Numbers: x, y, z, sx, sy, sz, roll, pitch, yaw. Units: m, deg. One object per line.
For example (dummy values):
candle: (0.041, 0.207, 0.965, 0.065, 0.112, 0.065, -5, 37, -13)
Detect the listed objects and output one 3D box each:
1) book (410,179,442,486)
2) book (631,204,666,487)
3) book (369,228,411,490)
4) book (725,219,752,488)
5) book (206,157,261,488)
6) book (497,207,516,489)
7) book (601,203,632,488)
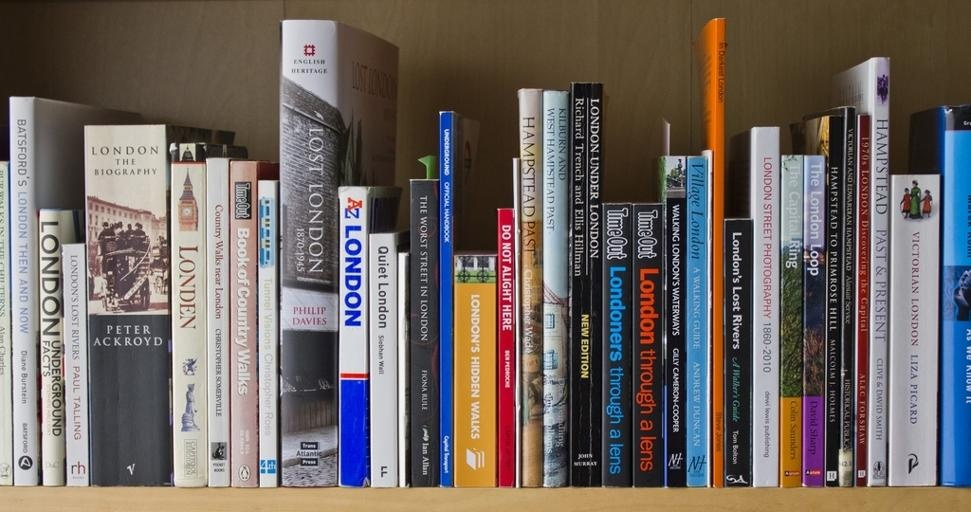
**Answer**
book: (-0.120, 0.155, 2.405, 0.068, 0.603, 0.041, -2, -2, -9)
book: (0.323, 0.178, 2.402, 0.068, 0.558, 0.041, -2, -2, -6)
book: (-0.197, 0.208, 2.402, 0.071, 0.500, 0.042, -2, -2, -11)
book: (0.504, 0.193, 2.404, 0.063, 0.526, 0.032, -2, -2, -3)
book: (-0.494, 0.134, 2.408, 0.121, 0.648, 0.055, -2, -2, -11)
book: (0.043, 0.183, 2.407, 0.036, 0.548, 0.045, -1, -2, -21)
book: (0.262, 0.178, 2.404, 0.066, 0.558, 0.040, -2, -2, -7)
